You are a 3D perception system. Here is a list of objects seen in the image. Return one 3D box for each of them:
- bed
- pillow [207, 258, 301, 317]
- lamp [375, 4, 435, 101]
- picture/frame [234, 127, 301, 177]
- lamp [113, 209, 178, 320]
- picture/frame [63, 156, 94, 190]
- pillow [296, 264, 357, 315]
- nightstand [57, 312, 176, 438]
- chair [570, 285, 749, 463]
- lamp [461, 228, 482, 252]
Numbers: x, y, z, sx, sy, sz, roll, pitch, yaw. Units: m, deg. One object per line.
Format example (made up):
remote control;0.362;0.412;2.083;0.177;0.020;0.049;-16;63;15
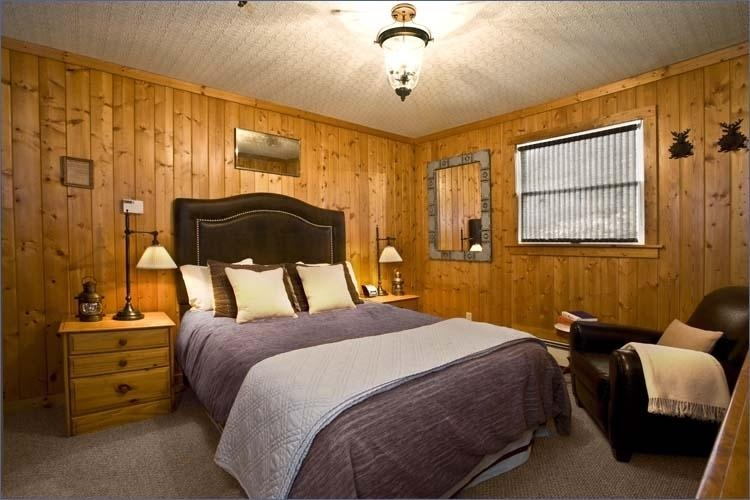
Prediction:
bed;-0.585;0.729;4.654;2.490;1.921;3.224;-2;-1;-37
pillow;-1.422;0.388;4.809;0.690;0.616;0.205;4;-27;-30
lamp;0.251;-1.734;4.317;0.485;0.759;0.357;-3;2;7
picture/frame;-1.246;-1.312;5.771;0.043;0.790;1.325;9;12;23
lamp;-2.280;0.095;4.799;0.585;1.175;0.358;-1;0;-11
picture/frame;-2.894;-0.755;4.730;0.358;0.378;0.055;1;-2;-35
pillow;-0.534;0.376;5.062;0.560;0.505;0.169;-7;-21;-41
nightstand;-2.457;1.068;4.634;0.931;0.943;0.693;0;12;-30
chair;2.363;1.002;4.105;1.485;1.467;1.340;0;-4;3
lamp;1.318;-0.106;6.616;0.152;0.266;0.375;-27;14;-27
